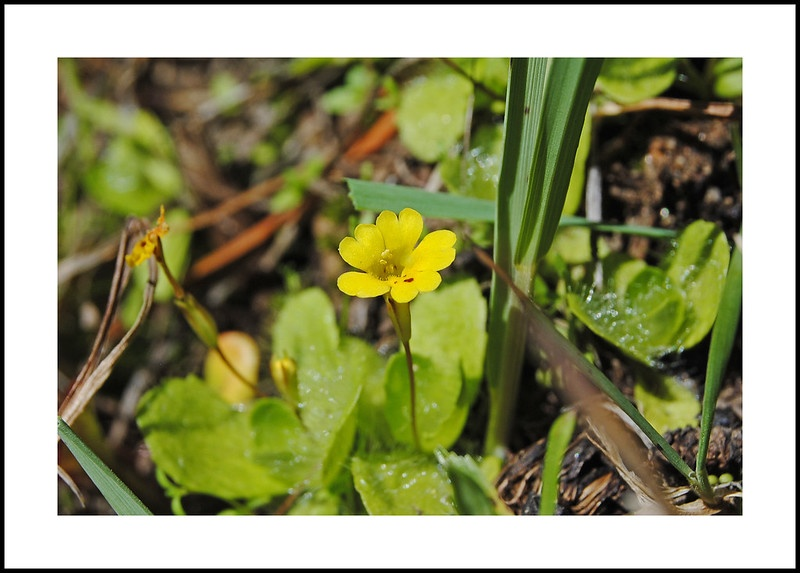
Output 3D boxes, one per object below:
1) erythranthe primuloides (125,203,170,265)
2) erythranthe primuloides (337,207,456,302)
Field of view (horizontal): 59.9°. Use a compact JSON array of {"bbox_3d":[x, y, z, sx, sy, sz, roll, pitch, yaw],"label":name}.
[{"bbox_3d":[-0.519,-0.105,1.423,0.044,0.150,0.048,21,-7,22],"label":"erythranthe primuloides"},{"bbox_3d":[-0.011,-0.029,1.299,0.237,0.093,0.228,-16,-32,15],"label":"erythranthe primuloides"}]
